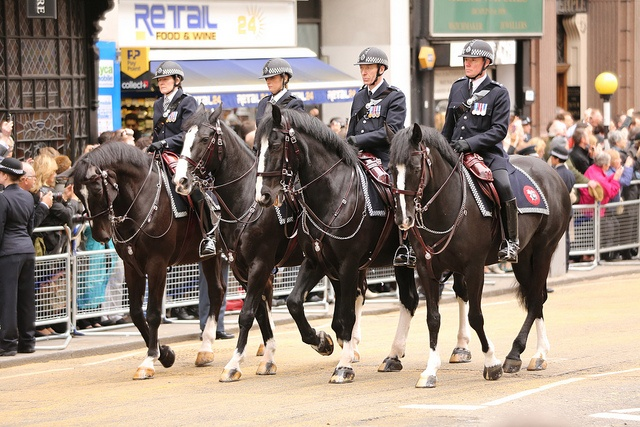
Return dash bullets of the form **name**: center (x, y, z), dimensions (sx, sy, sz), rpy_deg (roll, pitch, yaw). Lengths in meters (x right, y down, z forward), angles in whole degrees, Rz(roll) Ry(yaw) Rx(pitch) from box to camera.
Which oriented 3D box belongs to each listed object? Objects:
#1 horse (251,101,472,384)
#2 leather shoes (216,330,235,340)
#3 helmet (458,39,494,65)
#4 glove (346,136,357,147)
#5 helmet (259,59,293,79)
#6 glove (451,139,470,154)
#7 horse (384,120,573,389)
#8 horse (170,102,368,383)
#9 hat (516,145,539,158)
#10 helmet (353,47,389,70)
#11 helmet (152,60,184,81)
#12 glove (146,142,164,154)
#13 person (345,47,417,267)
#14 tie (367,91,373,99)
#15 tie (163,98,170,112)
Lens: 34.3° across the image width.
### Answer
- **horse**: center (0.811, 0.624, 16.533), dimensions (1.437, 3.923, 5.168), rpy_deg (-7, -9, 41)
- **leather shoes**: center (-1.704, 2.172, 18.579), dimensions (0.366, 0.133, 0.120), rpy_deg (1, 3, -31)
- **helmet**: center (2.423, -2.494, 16.089), dimensions (0.455, 0.329, 0.326), rpy_deg (-2, 8, 7)
- **glove**: center (0.495, -1.134, 16.438), dimensions (0.135, 0.143, 0.118), rpy_deg (-9, -8, -44)
- **helmet**: center (-0.700, -2.317, 16.739), dimensions (0.443, 0.312, 0.319), rpy_deg (-4, 8, -6)
- **glove**: center (2.128, -1.010, 15.834), dimensions (0.181, 0.143, 0.231), rpy_deg (-1, 7, 3)
- **horse**: center (2.462, 0.488, 15.751), dimensions (1.317, 3.854, 3.318), rpy_deg (4, 11, 41)
- **horse**: center (-0.735, 0.621, 16.875), dimensions (1.475, 3.988, 4.809), rpy_deg (-2, -5, 36)
- **hat**: center (3.627, -1.080, 18.108), dimensions (0.302, 0.139, 0.365), rpy_deg (-14, -3, 31)
- **helmet**: center (0.836, -2.457, 16.480), dimensions (0.352, 0.314, 0.436), rpy_deg (3, 10, 33)
- **helmet**: center (-2.445, -2.353, 17.082), dimensions (0.446, 0.264, 0.319), rpy_deg (-2, -2, -38)
- **glove**: center (-2.667, -1.058, 16.815), dimensions (0.231, 0.082, 0.173), rpy_deg (-38, 19, -35)
- **person**: center (0.920, -0.901, 16.869), dimensions (1.291, 3.391, 1.142), rpy_deg (-8, 13, -17)
- **tie**: center (0.792, -1.895, 16.655), dimensions (0.081, 0.100, 0.040), rpy_deg (-5, -7, 24)
- **tie**: center (-2.528, -1.779, 17.109), dimensions (0.050, 0.183, 0.177), rpy_deg (20, -18, -38)
